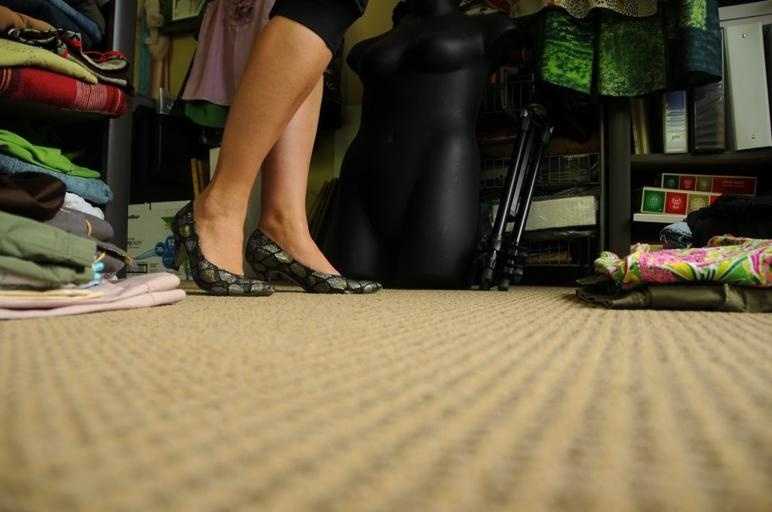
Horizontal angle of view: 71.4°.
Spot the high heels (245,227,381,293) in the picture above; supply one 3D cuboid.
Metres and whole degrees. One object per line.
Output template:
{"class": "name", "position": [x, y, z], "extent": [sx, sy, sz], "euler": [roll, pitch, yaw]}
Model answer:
{"class": "high heels", "position": [-0.139, 0.010, 1.273], "extent": [0.354, 0.173, 0.123], "euler": [9, 0, -8]}
